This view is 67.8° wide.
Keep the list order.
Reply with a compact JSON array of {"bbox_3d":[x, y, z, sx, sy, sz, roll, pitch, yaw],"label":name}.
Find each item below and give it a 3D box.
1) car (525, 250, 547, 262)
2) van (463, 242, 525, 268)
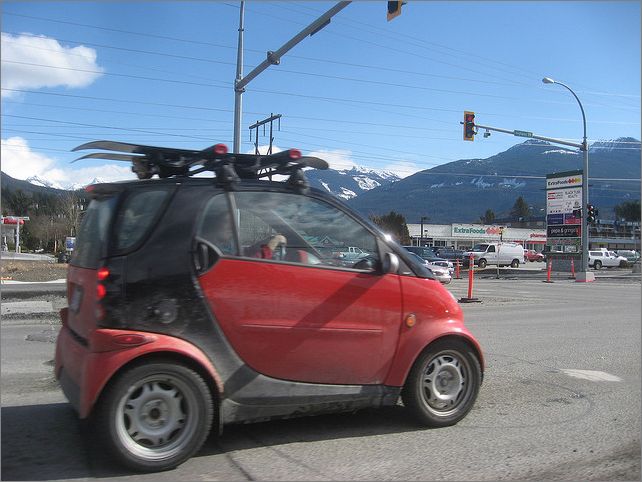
[{"bbox_3d":[31.374,2.233,69.887,2.541,1.678,2.680,1,-1,22],"label":"car"},{"bbox_3d":[17.379,1.484,47.620,6.910,1.918,3.247,2,-3,-19],"label":"van"}]
